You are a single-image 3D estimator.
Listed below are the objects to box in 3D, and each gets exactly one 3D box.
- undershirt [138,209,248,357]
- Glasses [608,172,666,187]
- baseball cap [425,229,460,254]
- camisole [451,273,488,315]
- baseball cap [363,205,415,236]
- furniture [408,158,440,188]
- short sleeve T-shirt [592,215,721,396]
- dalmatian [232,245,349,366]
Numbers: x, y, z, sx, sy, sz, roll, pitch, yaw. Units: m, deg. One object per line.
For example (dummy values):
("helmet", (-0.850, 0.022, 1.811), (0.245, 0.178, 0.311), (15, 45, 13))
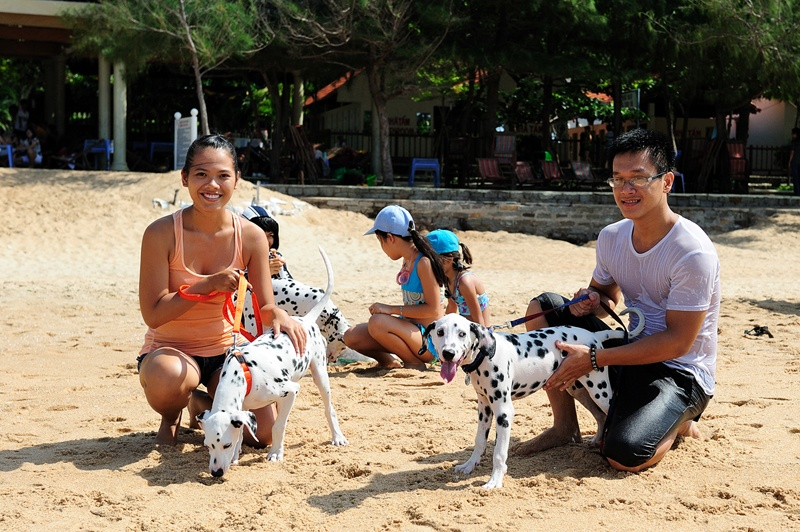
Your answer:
("undershirt", (-2.466, 0.139, 11.519), (0.491, 0.973, 0.626), (-15, -8, -36))
("Glasses", (2.642, -0.959, 11.137), (0.630, 0.173, 0.146), (2, 4, 15))
("baseball cap", (0.555, -0.336, 12.969), (0.392, 0.181, 0.260), (25, 33, 29))
("camisole", (0.934, 0.387, 13.137), (0.411, 0.729, 0.486), (0, -11, -20))
("baseball cap", (-0.094, -0.587, 12.796), (0.496, 0.325, 0.371), (5, 7, 9))
("furniture", (0.676, -2.674, 27.328), (0.834, 0.920, 0.891), (0, 1, -2))
("short sleeve T-shirt", (2.859, 0.472, 11.201), (0.797, 1.693, 1.592), (-2, 13, -23))
("dalmatian", (-1.364, 0.252, 13.530), (0.628, 1.425, 2.353), (-16, 35, -37))
